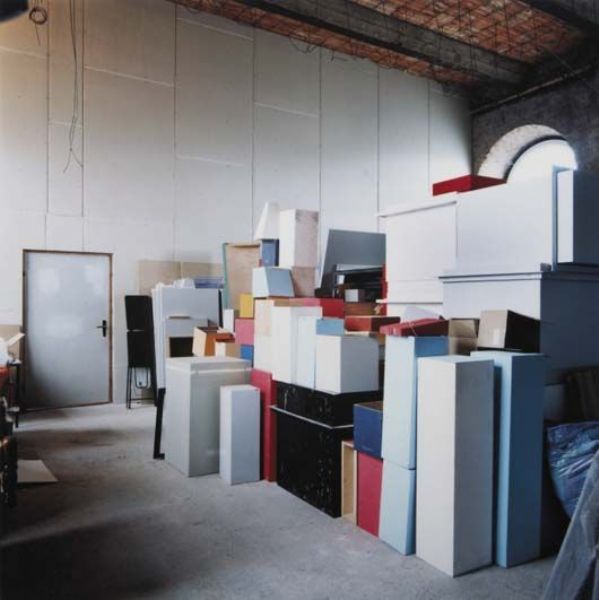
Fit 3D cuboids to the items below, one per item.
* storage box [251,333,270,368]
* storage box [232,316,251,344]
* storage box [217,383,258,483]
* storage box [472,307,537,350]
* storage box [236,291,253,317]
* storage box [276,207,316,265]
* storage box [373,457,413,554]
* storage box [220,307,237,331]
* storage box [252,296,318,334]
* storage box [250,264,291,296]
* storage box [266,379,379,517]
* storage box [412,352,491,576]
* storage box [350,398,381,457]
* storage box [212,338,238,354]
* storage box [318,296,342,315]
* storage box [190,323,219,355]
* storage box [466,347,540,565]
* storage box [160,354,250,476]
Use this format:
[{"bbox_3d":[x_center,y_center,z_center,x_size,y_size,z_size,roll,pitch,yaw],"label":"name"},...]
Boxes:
[{"bbox_3d":[-0.277,0.354,4.294,0.109,0.249,0.223,-1,1,-20],"label":"storage box"},{"bbox_3d":[-0.453,0.232,4.693,0.162,0.197,0.165,3,-3,28],"label":"storage box"},{"bbox_3d":[-0.405,0.918,4.213,0.160,0.613,0.239,9,-9,-24],"label":"storage box"},{"bbox_3d":[1.182,0.160,3.402,0.262,0.234,0.289,10,-8,-18],"label":"storage box"},{"bbox_3d":[-0.438,0.023,4.750,0.142,0.256,0.156,1,-2,-22],"label":"storage box"},{"bbox_3d":[-0.034,-0.479,4.612,0.292,0.431,0.217,0,3,2],"label":"storage box"},{"bbox_3d":[0.493,1.051,3.131,0.064,0.440,0.235,-3,4,-35],"label":"storage box"},{"bbox_3d":[-0.667,0.154,5.468,0.140,0.332,0.289,1,-2,-18],"label":"storage box"},{"bbox_3d":[-0.160,0.065,4.239,0.278,0.222,0.315,-1,1,-8],"label":"storage box"},{"bbox_3d":[-0.231,-0.150,4.518,0.229,0.209,0.222,0,0,-40],"label":"storage box"},{"bbox_3d":[0.135,0.889,3.926,0.408,0.739,0.679,-2,5,-36],"label":"storage box"},{"bbox_3d":[0.737,0.779,2.918,0.349,1.005,0.239,1,3,17],"label":"storage box"},{"bbox_3d":[0.365,0.705,3.343,0.256,0.305,0.197,2,-4,-34],"label":"storage box"},{"bbox_3d":[-0.612,0.375,4.885,0.170,0.119,0.342,-2,4,-16],"label":"storage box"},{"bbox_3d":[0.220,0.036,4.108,0.078,0.132,0.266,2,4,33],"label":"storage box"},{"bbox_3d":[-0.826,0.326,5.252,0.204,0.251,0.221,-1,7,-22],"label":"storage box"},{"bbox_3d":[1.188,0.810,3.150,0.296,1.041,0.415,-3,-14,28],"label":"storage box"},{"bbox_3d":[-0.803,0.784,4.506,0.625,1.076,0.662,1,-2,-31],"label":"storage box"}]
